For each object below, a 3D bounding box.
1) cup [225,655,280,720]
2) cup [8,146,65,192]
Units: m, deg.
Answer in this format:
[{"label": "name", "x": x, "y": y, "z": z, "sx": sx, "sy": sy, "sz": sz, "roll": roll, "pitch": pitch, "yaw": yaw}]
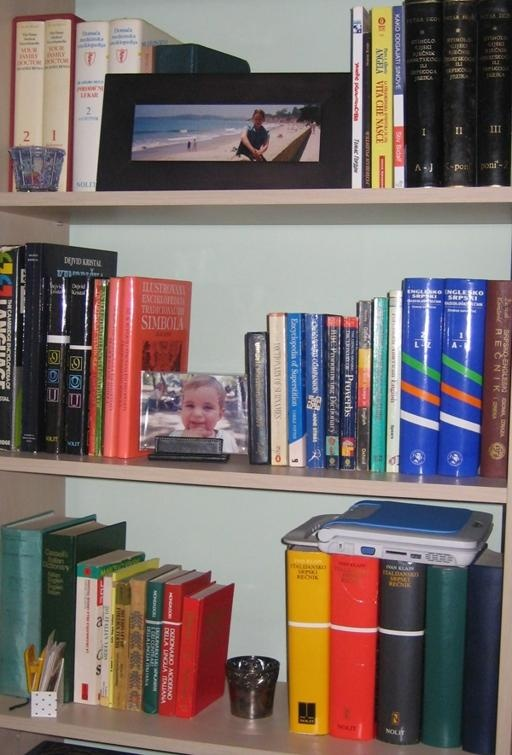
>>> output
[{"label": "cup", "x": -0.007, "y": 0.489, "z": 1.143, "sx": 0.085, "sy": 0.072, "sz": 0.096, "roll": 9, "pitch": -13, "yaw": -43}, {"label": "cup", "x": -0.348, "y": -0.328, "z": 1.134, "sx": 0.080, "sy": 0.058, "sz": 0.079, "roll": 1, "pitch": 4, "yaw": 0}]
